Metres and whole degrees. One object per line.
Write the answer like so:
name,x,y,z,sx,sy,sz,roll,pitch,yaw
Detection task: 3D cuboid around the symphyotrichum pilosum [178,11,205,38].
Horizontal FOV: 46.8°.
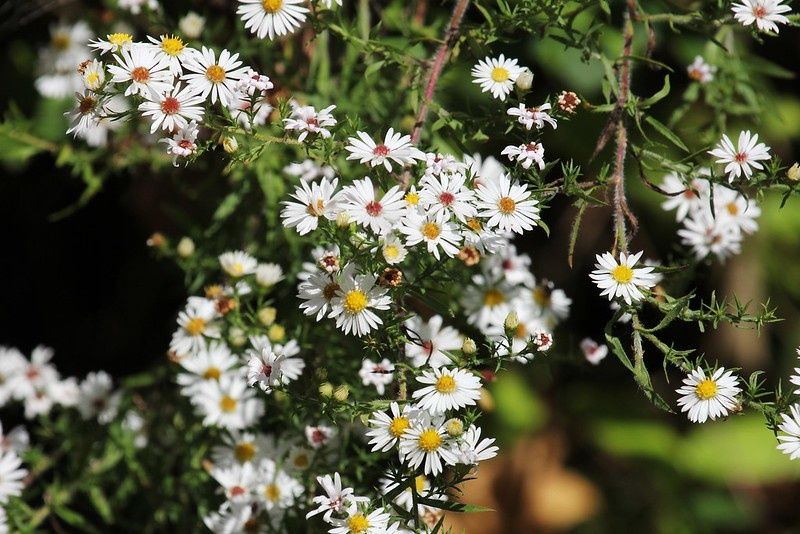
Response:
symphyotrichum pilosum,-0.896,-1.036,3.973,0.095,0.072,0.120,19,83,-4
